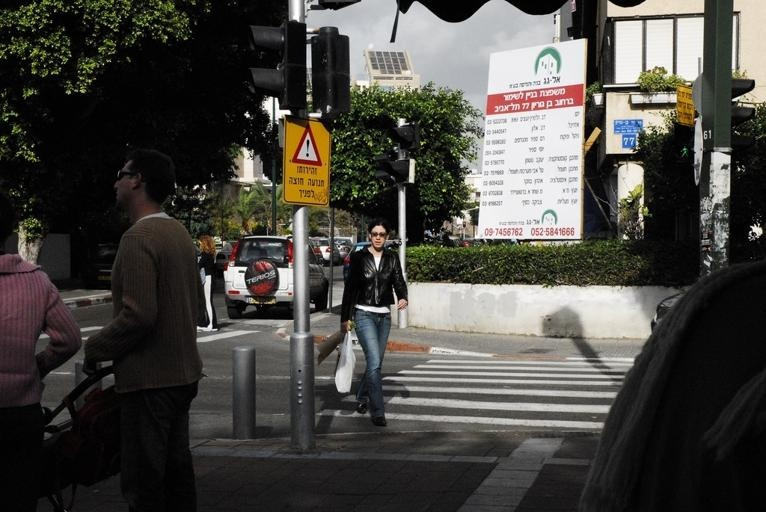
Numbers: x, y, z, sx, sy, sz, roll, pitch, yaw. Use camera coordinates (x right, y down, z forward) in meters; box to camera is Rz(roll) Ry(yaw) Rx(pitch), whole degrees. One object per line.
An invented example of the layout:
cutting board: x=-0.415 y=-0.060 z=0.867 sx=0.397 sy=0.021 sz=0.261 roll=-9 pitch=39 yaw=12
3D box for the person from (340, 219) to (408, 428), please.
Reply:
person: x=-0.130 y=0.739 z=9.507 sx=0.642 sy=2.222 sz=0.769 roll=1 pitch=3 yaw=16

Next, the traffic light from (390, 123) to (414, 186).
traffic light: x=0.466 y=-2.127 z=17.595 sx=0.475 sy=1.266 sz=0.956 roll=0 pitch=3 yaw=2

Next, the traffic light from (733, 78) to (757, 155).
traffic light: x=4.890 y=-1.844 z=11.537 sx=0.250 sy=1.037 sz=3.903 roll=1 pitch=3 yaw=23

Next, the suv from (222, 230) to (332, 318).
suv: x=-2.623 y=0.376 z=21.837 sx=1.839 sy=1.764 sz=3.412 roll=0 pitch=3 yaw=13

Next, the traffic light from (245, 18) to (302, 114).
traffic light: x=-1.030 y=-1.844 z=8.348 sx=0.553 sy=0.851 sz=0.303 roll=0 pitch=3 yaw=-7

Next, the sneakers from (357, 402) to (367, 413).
sneakers: x=-0.247 y=1.777 z=9.938 sx=0.138 sy=0.144 sz=0.070 roll=-1 pitch=-4 yaw=35

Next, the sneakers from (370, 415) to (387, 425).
sneakers: x=-0.051 y=1.803 z=9.298 sx=0.174 sy=0.133 sz=0.164 roll=0 pitch=3 yaw=1
